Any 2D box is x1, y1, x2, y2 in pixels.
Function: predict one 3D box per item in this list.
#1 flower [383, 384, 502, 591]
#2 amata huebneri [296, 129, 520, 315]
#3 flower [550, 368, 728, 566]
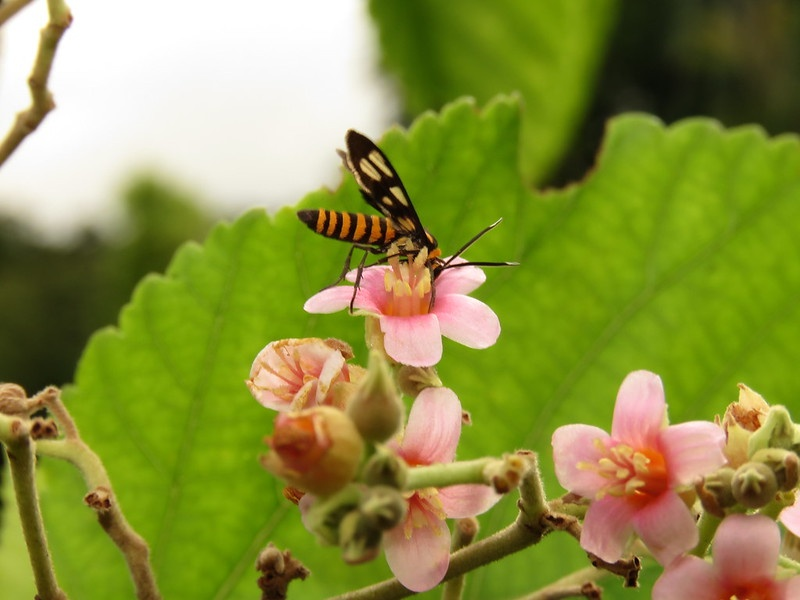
[{"bbox_3d":[0.046,0.301,1.457,0.248,0.303,0.083,25,-20,-39],"label":"flower"},{"bbox_3d":[0.010,-0.146,1.830,0.266,0.444,0.392,-2,5,-21],"label":"amata huebneri"},{"bbox_3d":[0.367,0.259,1.426,0.239,0.195,0.215,-9,31,-9],"label":"flower"}]
